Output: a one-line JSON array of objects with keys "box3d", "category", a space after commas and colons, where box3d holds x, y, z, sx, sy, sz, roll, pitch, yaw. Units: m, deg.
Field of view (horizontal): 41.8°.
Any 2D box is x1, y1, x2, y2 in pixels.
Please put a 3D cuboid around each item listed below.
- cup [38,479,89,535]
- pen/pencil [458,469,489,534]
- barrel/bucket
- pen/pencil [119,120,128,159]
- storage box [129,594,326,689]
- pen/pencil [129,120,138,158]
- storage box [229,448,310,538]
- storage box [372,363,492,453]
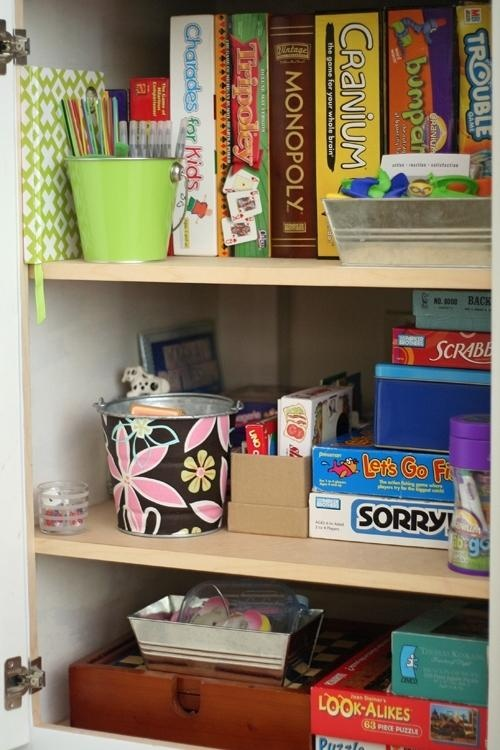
[{"box3d": [-0.231, 0.158, 0.803, 0.057, 0.053, 0.060, 0, -2, 0], "category": "cup"}, {"box3d": [0.205, 0.114, 0.596, 0.029, 0.054, 0.011, 3, 10, 32], "category": "pen/pencil"}, {"box3d": [-0.144, -0.174, 0.774, 0.122, 0.095, 0.125, 0, 3, 0], "category": "barrel/bucket"}, {"box3d": [-0.155, -0.285, 0.791, 0.013, 0.037, 0.014, -7, 10, -30], "category": "pen/pencil"}, {"box3d": [-0.044, 0.304, 0.835, 0.188, 0.060, 0.124, 1, 1, 25], "category": "storage box"}, {"box3d": [-0.140, -0.280, 0.780, 0.012, 0.040, 0.023, -4, 9, -10], "category": "pen/pencil"}, {"box3d": [0.027, 0.142, 0.830, 0.092, 0.086, 0.093, 2, 2, 17], "category": "storage box"}, {"box3d": [0.196, 0.032, 0.706, 0.097, 0.075, 0.099, 3, -1, 16], "category": "storage box"}]
